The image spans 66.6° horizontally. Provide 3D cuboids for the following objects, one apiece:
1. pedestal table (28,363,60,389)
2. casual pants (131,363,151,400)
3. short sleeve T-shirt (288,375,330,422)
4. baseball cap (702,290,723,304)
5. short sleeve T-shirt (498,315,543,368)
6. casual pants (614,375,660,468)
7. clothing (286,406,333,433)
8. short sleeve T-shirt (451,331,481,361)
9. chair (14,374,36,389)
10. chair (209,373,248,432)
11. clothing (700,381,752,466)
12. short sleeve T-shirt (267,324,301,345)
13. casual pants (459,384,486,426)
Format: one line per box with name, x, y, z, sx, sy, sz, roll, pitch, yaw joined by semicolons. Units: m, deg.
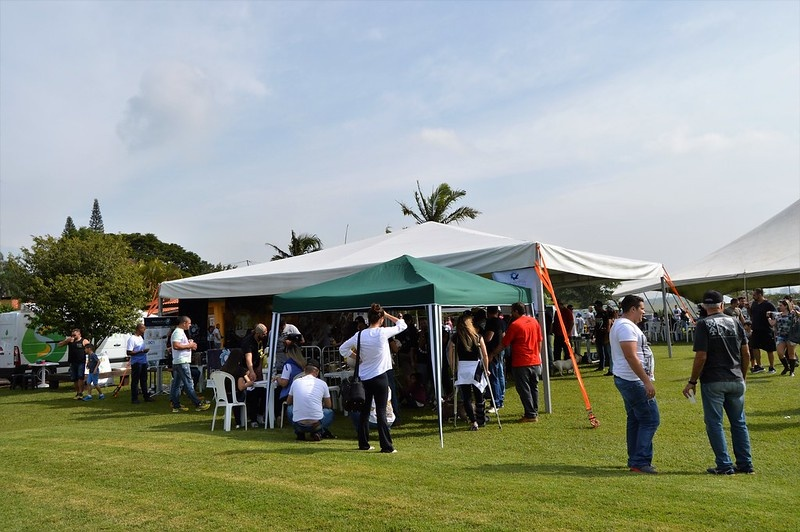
pedestal table;-11.320;3.444;19.308;0.897;0.636;0.876;0;-5;-3
casual pants;-6.635;2.873;15.535;0.331;0.981;0.490;-8;-3;29
short sleeve T-shirt;-1.564;2.414;10.888;0.719;0.769;0.674;-15;-23;35
baseball cap;4.362;0.434;8.517;0.235;0.179;0.299;-3;-1;29
short sleeve T-shirt;2.339;1.449;11.720;1.012;0.943;0.530;-2;-4;-29
casual pants;3.337;2.185;8.580;0.531;1.097;0.319;-3;-1;22
clothing;-1.442;2.755;11.010;0.634;0.316;0.621;4;0;-2
short sleeve T-shirt;1.158;1.470;11.273;0.590;0.737;0.418;1;-18;-13
chair;-11.843;3.613;19.247;0.633;0.487;0.620;-1;-5;6
chair;-3.366;2.644;11.945;0.560;0.872;0.529;4;-19;-18
clothing;4.460;2.148;8.339;0.510;1.133;0.579;-3;-2;40
short sleeve T-shirt;-2.526;1.476;13.534;0.646;0.594;0.346;-1;-22;-8
casual pants;1.355;2.594;11.388;0.302;0.752;1.085;10;-5;-3
